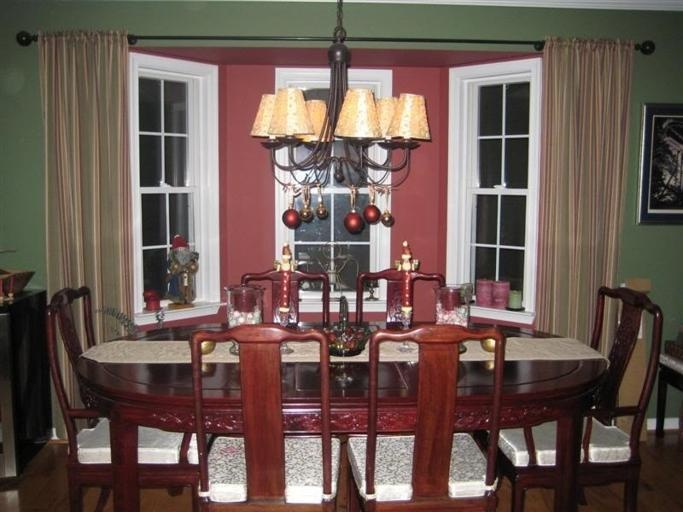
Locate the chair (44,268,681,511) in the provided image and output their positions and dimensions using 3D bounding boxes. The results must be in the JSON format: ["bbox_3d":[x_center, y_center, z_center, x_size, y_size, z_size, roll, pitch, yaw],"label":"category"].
[{"bbox_3d":[-0.017,0.881,3.428,2.581,0.694,0.874,1,6,10],"label":"chair"}]

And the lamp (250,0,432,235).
[{"bbox_3d":[-0.016,-0.973,4.405,1.310,1.930,1.235,0,6,1],"label":"lamp"}]
